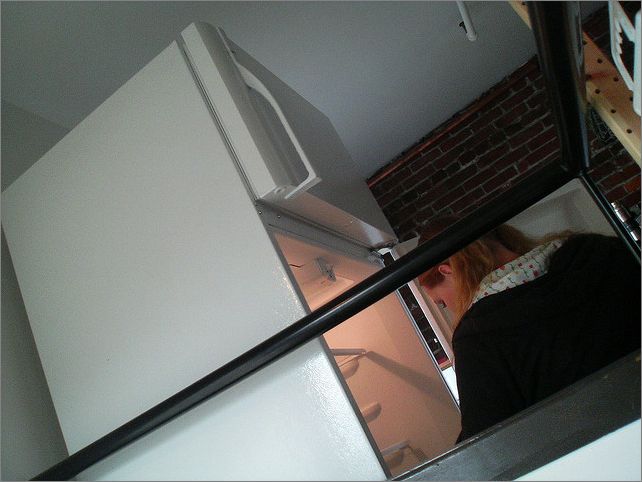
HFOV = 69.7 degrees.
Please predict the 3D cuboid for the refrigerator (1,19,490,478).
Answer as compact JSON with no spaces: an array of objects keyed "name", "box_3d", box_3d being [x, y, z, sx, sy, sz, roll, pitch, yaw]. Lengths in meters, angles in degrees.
[{"name":"refrigerator","box_3d":[-0.148,0.235,1.870,1.204,1.600,1.131,-28,-16,14]}]
